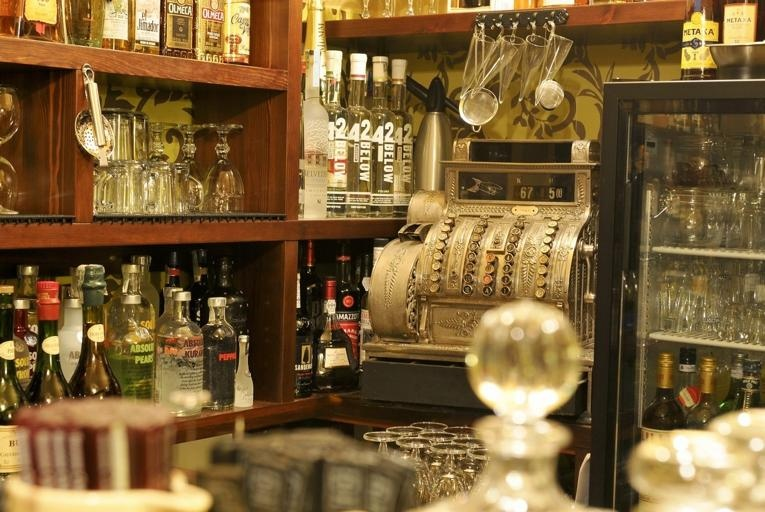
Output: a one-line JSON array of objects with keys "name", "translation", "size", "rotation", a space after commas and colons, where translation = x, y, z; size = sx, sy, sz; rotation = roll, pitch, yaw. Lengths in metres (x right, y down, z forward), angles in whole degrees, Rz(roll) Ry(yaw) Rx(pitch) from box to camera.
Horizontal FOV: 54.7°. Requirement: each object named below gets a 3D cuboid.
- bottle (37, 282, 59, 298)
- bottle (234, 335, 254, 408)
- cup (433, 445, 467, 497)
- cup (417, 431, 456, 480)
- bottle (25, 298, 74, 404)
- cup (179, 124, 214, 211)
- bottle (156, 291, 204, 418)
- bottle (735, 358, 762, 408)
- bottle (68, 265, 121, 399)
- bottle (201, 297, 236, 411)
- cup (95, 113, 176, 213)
[{"name": "bottle", "translation": [-0.737, 0.072, 1.617], "size": [0.035, 0.029, 0.035], "rotation": [2, -2, -34]}, {"name": "bottle", "translation": [-0.390, 0.323, 2.095], "size": [0.044, 0.206, 0.090], "rotation": [0, 2, 12]}, {"name": "cup", "translation": [0.125, 0.380, 1.352], "size": [0.059, 0.081, 0.141], "rotation": [0, 2, 6]}, {"name": "cup", "translation": [0.099, 0.371, 1.392], "size": [0.060, 0.099, 0.062], "rotation": [0, 4, 0]}, {"name": "bottle", "translation": [-0.757, 0.206, 1.666], "size": [0.091, 0.248, 0.360], "rotation": [-2, 3, -26]}, {"name": "cup", "translation": [-0.532, -0.246, 2.053], "size": [0.096, 0.230, 0.107], "rotation": [0, 7, 29]}, {"name": "bottle", "translation": [-0.537, 0.251, 1.948], "size": [0.124, 0.329, 0.327], "rotation": [-1, 2, -14]}, {"name": "bottle", "translation": [0.968, 0.341, 1.950], "size": [0.057, 0.131, 0.066], "rotation": [0, 2, 24]}, {"name": "bottle", "translation": [-0.688, 0.178, 1.760], "size": [0.110, 0.326, 0.298], "rotation": [-1, 2, -18]}, {"name": "bottle", "translation": [-0.451, 0.281, 2.022], "size": [0.086, 0.287, 0.045], "rotation": [-1, 2, -19]}, {"name": "cup", "translation": [-0.614, -0.238, 1.853], "size": [0.138, 0.269, 0.249], "rotation": [0, 2, 15]}]
